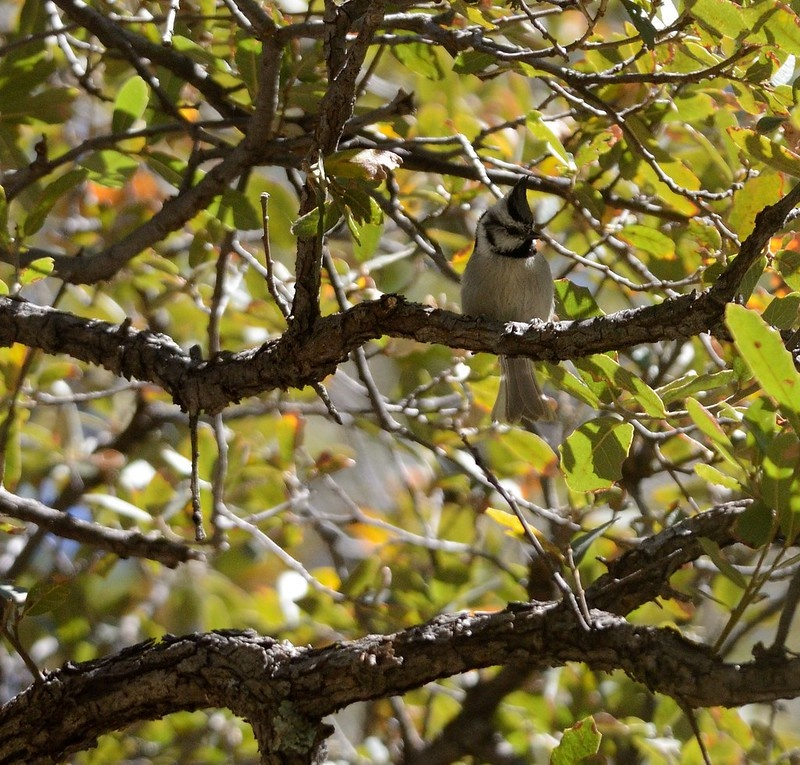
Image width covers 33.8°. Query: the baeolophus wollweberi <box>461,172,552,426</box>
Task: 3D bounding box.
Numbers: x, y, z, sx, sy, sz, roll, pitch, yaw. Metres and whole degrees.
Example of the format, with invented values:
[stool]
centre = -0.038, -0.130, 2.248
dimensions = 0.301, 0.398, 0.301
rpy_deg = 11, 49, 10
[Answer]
[baeolophus wollweberi]
centre = 0.399, -0.231, 4.749
dimensions = 0.362, 1.346, 0.785
rpy_deg = -3, -59, 4
